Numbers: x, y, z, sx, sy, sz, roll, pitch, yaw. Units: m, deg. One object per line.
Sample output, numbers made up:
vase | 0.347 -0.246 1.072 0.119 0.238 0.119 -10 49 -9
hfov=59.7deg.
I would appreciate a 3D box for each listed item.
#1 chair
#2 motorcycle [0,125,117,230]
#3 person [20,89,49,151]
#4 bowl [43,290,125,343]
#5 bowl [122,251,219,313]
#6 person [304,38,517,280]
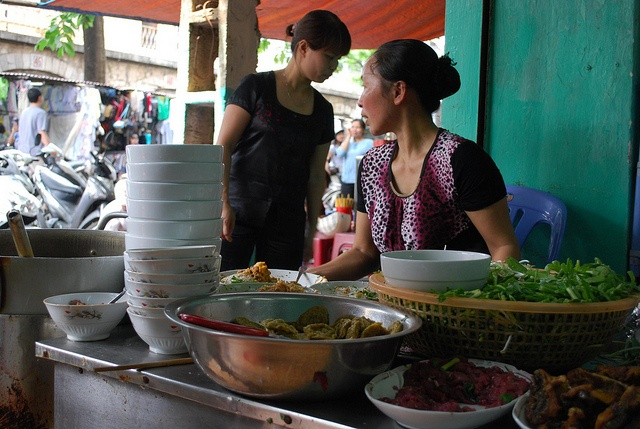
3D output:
chair | 1.259 0.092 3.327 0.412 0.498 0.428 -4 -13 6
motorcycle | -3.486 -0.413 7.918 1.086 1.142 0.755 2 2 -25
person | -4.057 -1.302 7.834 0.421 0.911 0.364 2 2 -19
bowl | -0.841 0.362 1.997 0.260 0.145 0.267 3 2 0
bowl | -0.501 0.207 1.838 0.221 0.139 0.202 -3 -2 0
person | 0.497 -0.226 2.797 0.988 1.238 0.873 0 4 45
